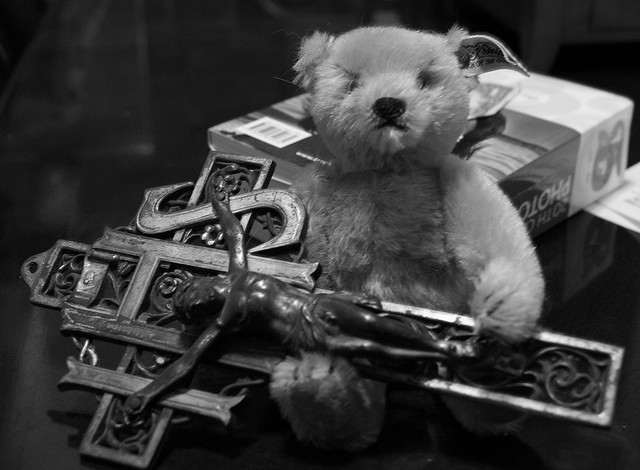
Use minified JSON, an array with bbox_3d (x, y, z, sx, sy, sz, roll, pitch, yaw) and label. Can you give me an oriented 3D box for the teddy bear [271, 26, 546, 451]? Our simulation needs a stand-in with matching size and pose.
[{"bbox_3d":[0.121,-0.023,1.123,0.332,0.452,0.495,1,32,5],"label":"teddy bear"}]
